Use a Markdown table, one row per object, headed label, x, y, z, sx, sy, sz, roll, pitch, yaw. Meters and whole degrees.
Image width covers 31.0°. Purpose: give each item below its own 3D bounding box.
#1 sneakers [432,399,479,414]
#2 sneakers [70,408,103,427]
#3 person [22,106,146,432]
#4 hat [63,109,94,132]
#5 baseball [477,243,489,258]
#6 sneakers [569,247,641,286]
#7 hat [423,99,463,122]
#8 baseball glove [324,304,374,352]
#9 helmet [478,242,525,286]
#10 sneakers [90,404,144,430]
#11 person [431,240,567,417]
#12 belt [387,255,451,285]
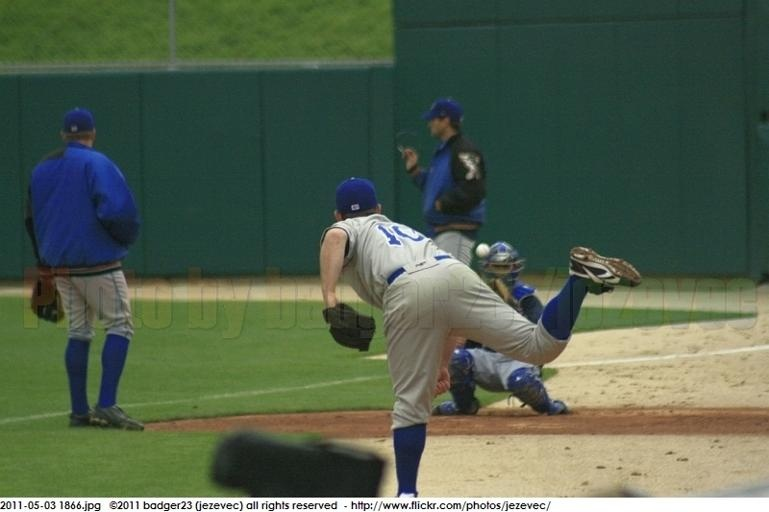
| label | x | y | z | sx | sy | sz | roll | pitch | yaw |
| --- | --- | --- | --- | --- | --- | --- | --- | --- | --- |
| sneakers | 0.631 | 1.340 | 12.360 | 0.416 | 0.171 | 0.147 | 2 | -2 | -2 |
| sneakers | -2.570 | 1.374 | 11.889 | 0.350 | 0.144 | 0.126 | 0 | 3 | 7 |
| person | -2.567 | 0.088 | 11.927 | 1.006 | 2.688 | 0.526 | 1 | 7 | 5 |
| hat | -2.656 | -1.186 | 12.080 | 0.197 | 0.151 | 0.281 | -2 | 23 | 0 |
| baseball | 0.880 | -0.062 | 12.500 | 0.117 | 0.114 | 0.117 | 10 | 2 | 15 |
| sneakers | 1.719 | 0.076 | 10.785 | 0.540 | 0.288 | 0.173 | 1 | 7 | 4 |
| hat | 0.573 | -1.419 | 13.288 | 0.294 | 0.166 | 0.213 | 5 | 13 | 15 |
| baseball glove | -0.301 | 0.585 | 10.950 | 0.437 | 0.380 | 0.328 | 3 | -7 | -3 |
| helmet | 1.057 | 0.045 | 12.536 | 0.399 | 0.375 | 0.445 | -2 | 12 | 0 |
| sneakers | -2.317 | 1.383 | 11.929 | 0.528 | 0.201 | 0.183 | 7 | -4 | -1 |
| person | 0.938 | 0.658 | 11.698 | 1.317 | 1.488 | 0.848 | -6 | -18 | 34 |
| belt | 0.250 | 0.081 | 10.788 | 0.342 | 0.085 | 0.261 | -29 | -4 | 18 |
